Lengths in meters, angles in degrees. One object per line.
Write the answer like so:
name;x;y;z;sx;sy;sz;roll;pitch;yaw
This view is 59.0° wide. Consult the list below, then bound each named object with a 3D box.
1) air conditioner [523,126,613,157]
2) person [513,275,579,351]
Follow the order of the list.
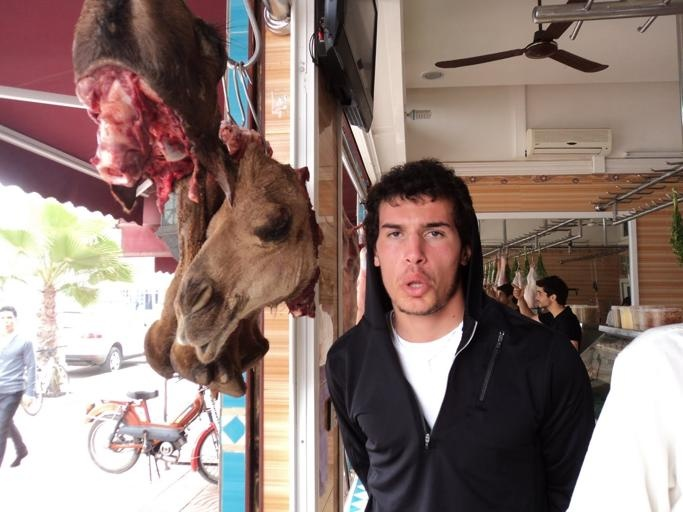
air conditioner;2.373;-1.200;6.301;0.817;0.259;0.207;0;-3;8
person;1.806;0.656;5.101;0.370;0.954;0.535;-5;0;-26
